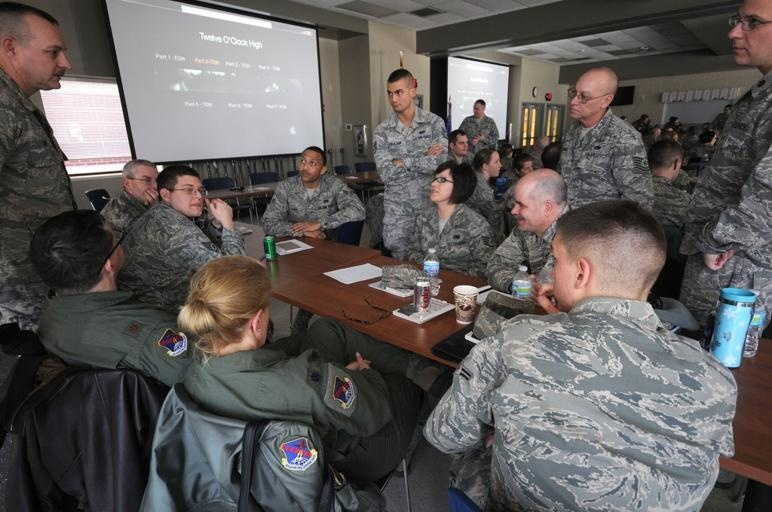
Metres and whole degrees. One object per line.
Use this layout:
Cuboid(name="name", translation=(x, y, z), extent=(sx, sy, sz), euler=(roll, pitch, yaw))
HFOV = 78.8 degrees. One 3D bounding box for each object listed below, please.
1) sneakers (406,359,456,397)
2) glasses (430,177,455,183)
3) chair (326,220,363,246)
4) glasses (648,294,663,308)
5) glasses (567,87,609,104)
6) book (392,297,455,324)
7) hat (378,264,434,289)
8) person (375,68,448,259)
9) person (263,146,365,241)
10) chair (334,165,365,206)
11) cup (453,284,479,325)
Cuboid(name="sneakers", translation=(0.210, 0.558, 2.173), extent=(0.191, 0.062, 0.185), euler=(-2, 11, -34))
Cuboid(name="glasses", translation=(0.373, -0.494, 3.062), extent=(0.141, 0.052, 0.034), euler=(6, 20, 20))
Cuboid(name="chair", translation=(-0.311, -0.203, 4.041), extent=(0.257, 0.265, 0.238), euler=(11, 22, 32))
Cuboid(name="glasses", translation=(1.230, 0.196, 2.153), extent=(0.073, 0.034, 0.101), euler=(4, 12, 29))
Cuboid(name="glasses", translation=(1.372, -1.097, 3.195), extent=(0.247, 0.101, 0.115), euler=(13, 23, 36))
Cuboid(name="book", translation=(0.203, 0.285, 2.382), extent=(0.137, 0.024, 0.189), euler=(15, 23, 42))
Cuboid(name="hat", translation=(0.102, 0.109, 2.631), extent=(0.194, 0.068, 0.146), euler=(3, 9, 29))
Cuboid(name="person", translation=(0.222, -0.498, 4.101), extent=(0.662, 2.060, 0.537), euler=(-5, 19, -8))
Cuboid(name="person", translation=(-0.653, -0.328, 4.078), extent=(0.858, 1.114, 0.661), euler=(-4, 27, -10))
Cuboid(name="chair", translation=(-0.522, -1.183, 7.828), extent=(0.548, 0.685, 0.728), euler=(6, 16, 28))
Cuboid(name="cup", translation=(0.407, 0.260, 2.323), extent=(0.152, 0.144, 0.144), euler=(3, -3, 0))
